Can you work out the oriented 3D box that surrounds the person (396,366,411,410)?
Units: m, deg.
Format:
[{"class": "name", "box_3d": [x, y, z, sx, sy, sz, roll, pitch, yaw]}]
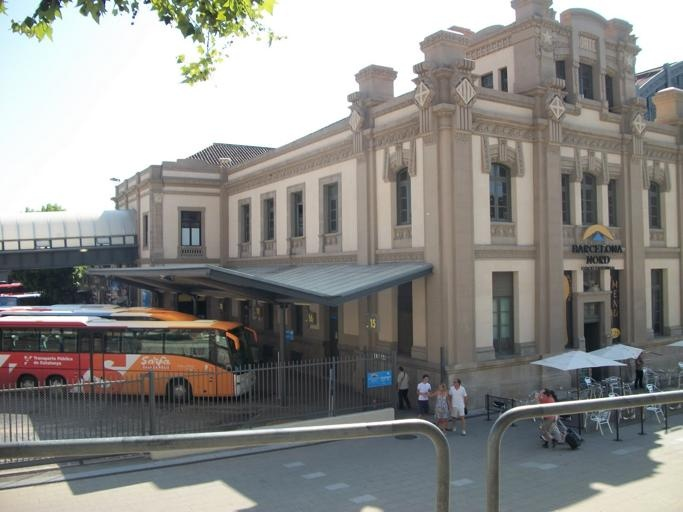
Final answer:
[{"class": "person", "box_3d": [2.548, 5.462, 34.407, 0.494, 1.758, 1.209, -3, -7, 3]}]

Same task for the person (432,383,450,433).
[{"class": "person", "box_3d": [3.828, 5.771, 31.792, 0.492, 1.782, 1.119, -3, -7, 4]}]
